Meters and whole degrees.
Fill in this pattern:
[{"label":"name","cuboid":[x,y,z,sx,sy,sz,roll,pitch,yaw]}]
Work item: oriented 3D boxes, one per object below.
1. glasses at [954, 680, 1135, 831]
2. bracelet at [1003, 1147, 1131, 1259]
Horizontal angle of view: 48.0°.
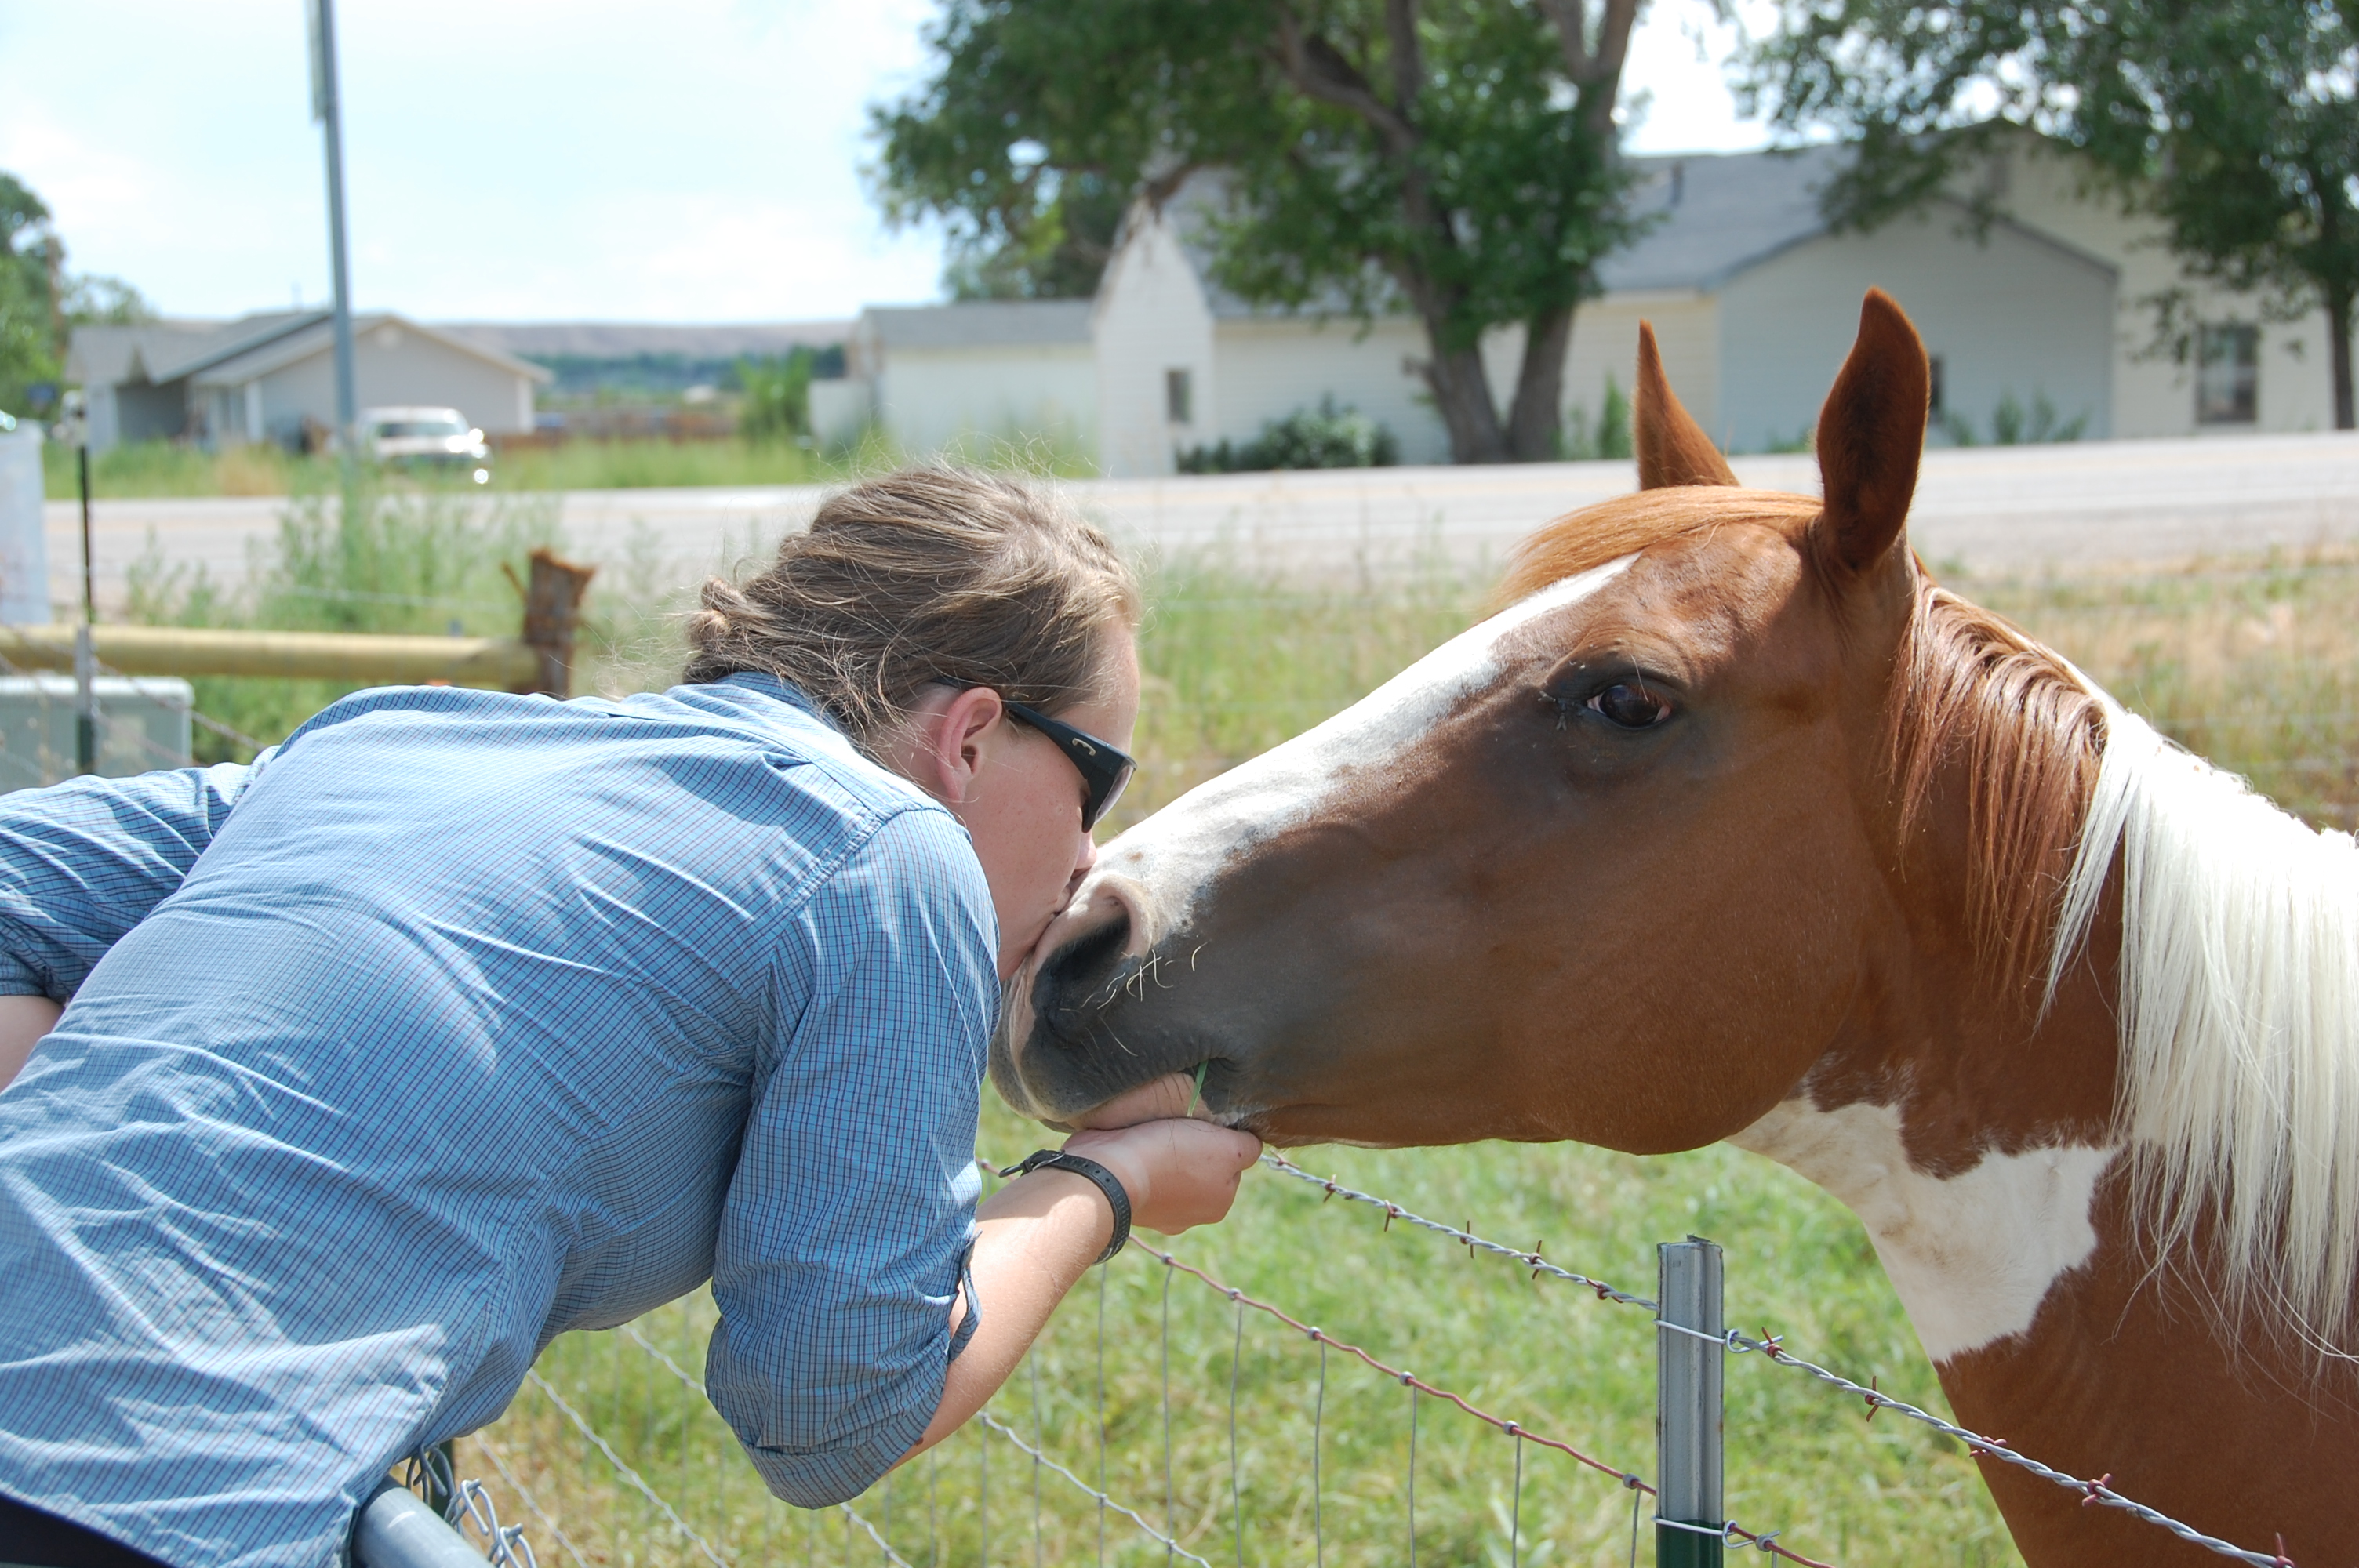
[{"label":"glasses","cuboid":[-0.204,-0.045,4.655,0.190,0.060,0.188,37,-10,11]},{"label":"bracelet","cuboid":[-0.190,0.745,4.699,0.186,0.051,0.196,43,-6,31]}]
